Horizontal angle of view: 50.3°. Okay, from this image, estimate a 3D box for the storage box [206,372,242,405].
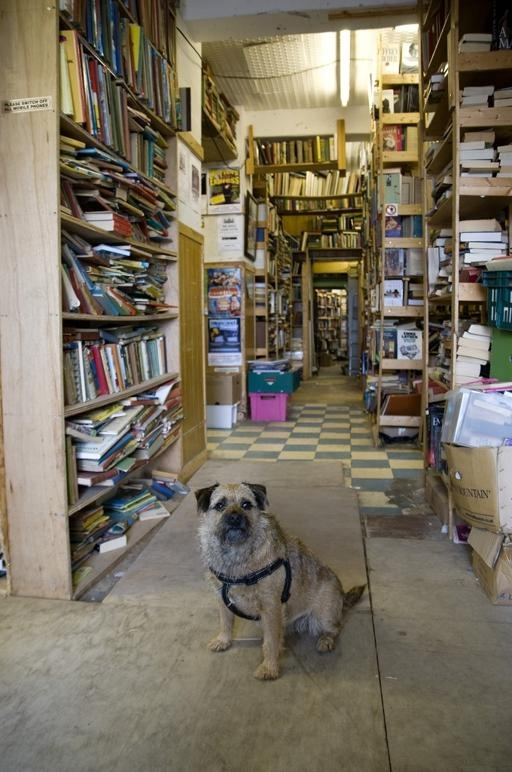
[{"bbox_3d":[-0.377,0.034,6.337,0.352,0.386,0.269,2,-3,1],"label":"storage box"}]

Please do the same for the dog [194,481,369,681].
[{"bbox_3d":[0.041,0.559,1.713,0.490,0.588,0.303,-4,4,-39],"label":"dog"}]
